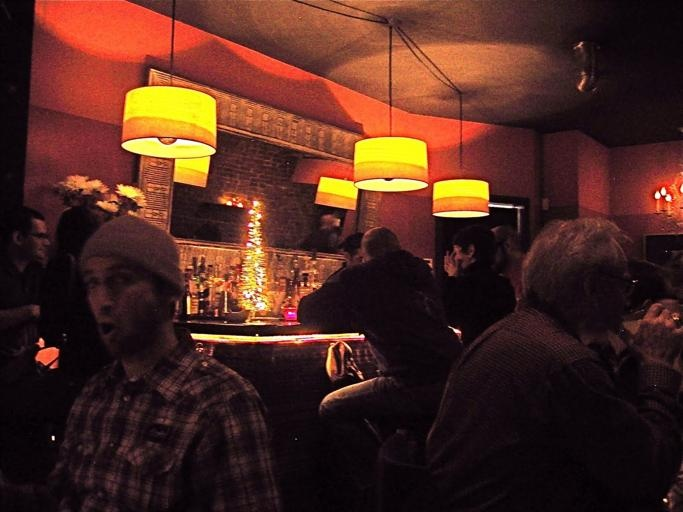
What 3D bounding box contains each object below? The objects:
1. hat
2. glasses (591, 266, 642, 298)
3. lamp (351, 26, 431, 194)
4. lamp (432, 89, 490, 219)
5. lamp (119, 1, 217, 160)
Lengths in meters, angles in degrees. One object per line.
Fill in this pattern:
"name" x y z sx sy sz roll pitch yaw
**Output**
"hat" -0.615 0.034 1.900 0.304 0.193 0.284 14 -17 -30
"glasses" 0.939 0.075 2.090 0.121 0.068 0.119 23 4 -43
"lamp" 0.498 -1.259 5.469 0.618 1.228 1.468 4 -1 6
"lamp" 1.372 -1.091 6.764 0.623 1.148 1.930 4 -1 13
"lamp" -1.120 -1.131 4.090 0.619 0.989 0.773 4 -1 5
